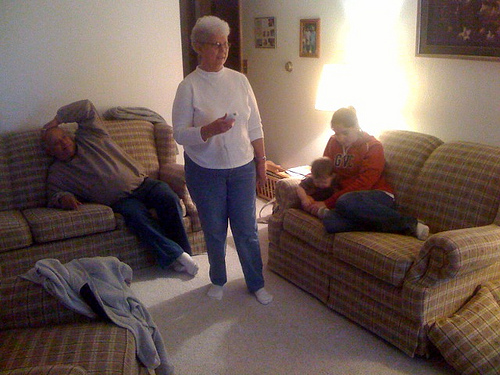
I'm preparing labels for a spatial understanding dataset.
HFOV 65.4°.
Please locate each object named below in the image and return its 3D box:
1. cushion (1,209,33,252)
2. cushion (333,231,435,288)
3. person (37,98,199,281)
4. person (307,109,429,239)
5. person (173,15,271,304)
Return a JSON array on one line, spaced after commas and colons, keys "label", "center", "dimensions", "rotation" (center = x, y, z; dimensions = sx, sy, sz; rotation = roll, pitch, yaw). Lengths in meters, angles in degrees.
[{"label": "cushion", "center": [-1.604, 0.293, 2.738], "dimensions": [0.253, 0.119, 0.257], "rotation": [-10, 59, -29]}, {"label": "cushion", "center": [0.759, 0.402, 2.414], "dimensions": [0.522, 0.177, 0.318], "rotation": [15, 29, 33]}, {"label": "person", "center": [-1.059, -0.075, 3.183], "dimensions": [1.755, 1.006, 0.954], "rotation": [9, 9, 17]}, {"label": "person", "center": [0.871, -0.078, 2.785], "dimensions": [0.539, 0.687, 0.932], "rotation": [-13, 10, -37]}, {"label": "person", "center": [-0.177, -0.108, 2.505], "dimensions": [0.565, 1.811, 0.463], "rotation": [-3, 24, 0]}]
